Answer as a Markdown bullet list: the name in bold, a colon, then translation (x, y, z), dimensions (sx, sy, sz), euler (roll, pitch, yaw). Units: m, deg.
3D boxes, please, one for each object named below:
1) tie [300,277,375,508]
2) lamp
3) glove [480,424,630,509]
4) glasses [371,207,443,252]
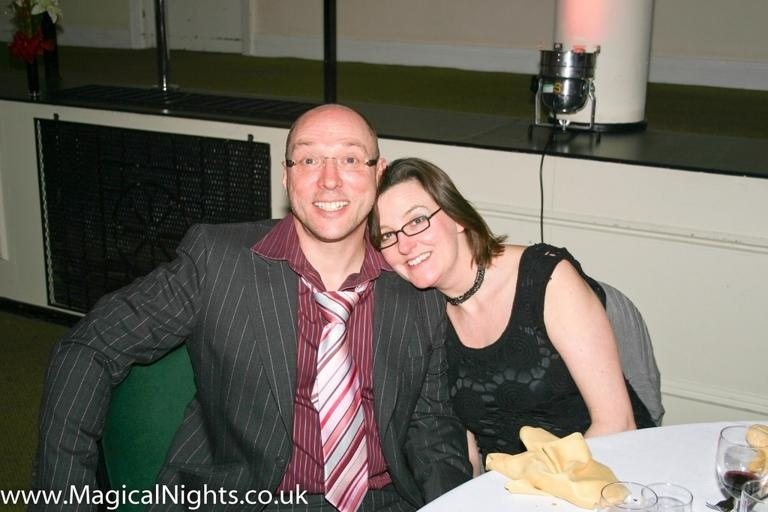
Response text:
- **tie**: translation (-0.147, 0.415, 2.049), dimensions (0.213, 0.690, 0.152), euler (1, 3, -6)
- **lamp**: translation (0.889, -0.878, 3.565), dimensions (0.428, 0.584, 0.446), euler (-3, 16, 1)
- **glove**: translation (0.401, 0.498, 1.636), dimensions (0.294, 0.151, 0.155), euler (3, 4, 20)
- **glasses**: translation (0.058, -0.098, 2.102), dimensions (0.138, 0.045, 0.143), euler (-32, -5, 23)
